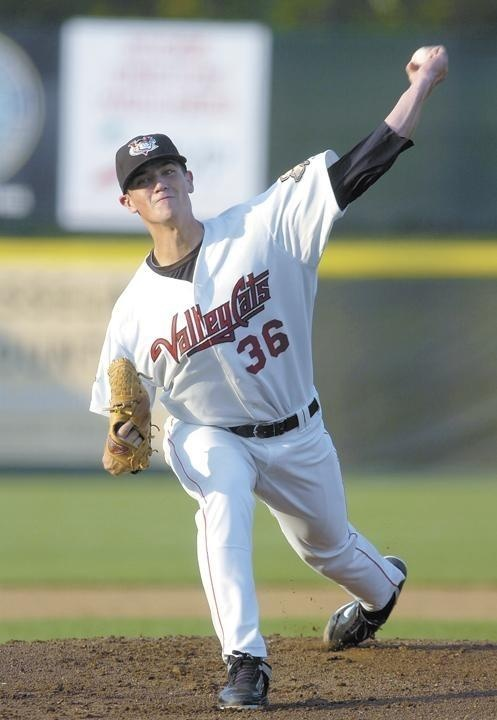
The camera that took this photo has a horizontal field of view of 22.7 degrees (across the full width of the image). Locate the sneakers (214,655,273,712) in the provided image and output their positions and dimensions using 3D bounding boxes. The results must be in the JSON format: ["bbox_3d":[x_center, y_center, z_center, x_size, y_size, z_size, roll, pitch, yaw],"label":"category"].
[{"bbox_3d":[-0.013,0.994,3.817,0.166,0.165,0.122,-1,3,-7],"label":"sneakers"}]

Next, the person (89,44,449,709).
[{"bbox_3d":[0.040,0.041,4.094,1.043,2.090,0.759,-1,3,-7],"label":"person"}]

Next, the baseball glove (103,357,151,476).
[{"bbox_3d":[-0.430,0.196,4.203,0.205,0.350,0.129,-2,-1,-20],"label":"baseball glove"}]
